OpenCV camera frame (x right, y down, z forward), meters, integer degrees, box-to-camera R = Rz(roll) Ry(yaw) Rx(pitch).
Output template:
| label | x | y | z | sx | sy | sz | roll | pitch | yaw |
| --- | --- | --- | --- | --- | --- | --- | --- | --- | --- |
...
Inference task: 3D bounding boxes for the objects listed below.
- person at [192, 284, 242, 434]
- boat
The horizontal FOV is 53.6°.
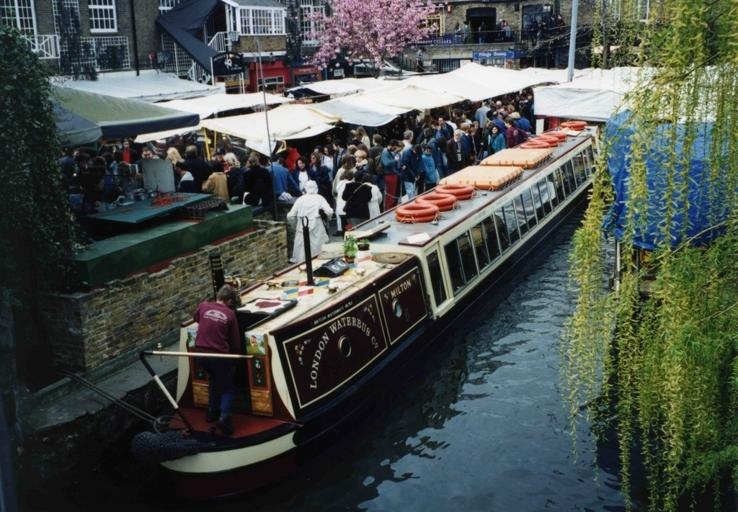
| label | x | y | z | sx | sy | sz | roll | pitch | yaw |
| --- | --- | --- | --- | --- | --- | --- | --- | --- | --- |
| person | -2.140 | 1.438 | 10.308 | 0.686 | 1.932 | 0.571 | 4 | 9 | -19 |
| boat | 2.407 | -0.651 | 17.034 | 2.468 | 2.710 | 19.085 | 7 | 19 | 32 |
